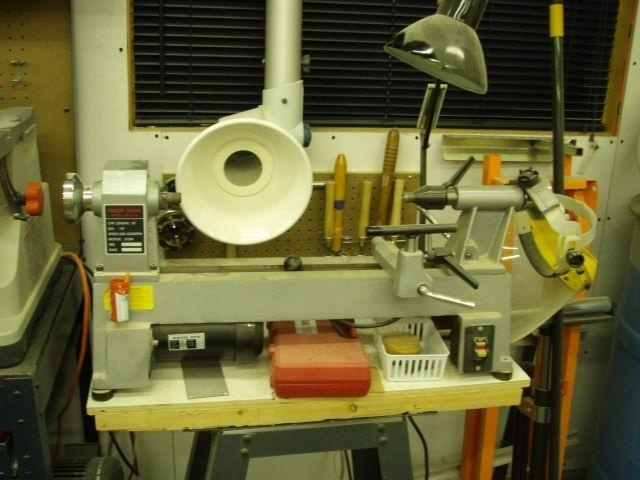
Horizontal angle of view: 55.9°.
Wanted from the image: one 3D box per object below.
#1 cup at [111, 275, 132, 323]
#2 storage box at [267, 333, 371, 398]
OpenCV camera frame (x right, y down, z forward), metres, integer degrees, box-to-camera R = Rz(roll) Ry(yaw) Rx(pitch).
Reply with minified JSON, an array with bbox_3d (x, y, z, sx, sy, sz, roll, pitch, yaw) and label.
[{"bbox_3d":[-0.645,0.196,1.954,0.055,0.153,0.059,-2,9,0],"label":"cup"},{"bbox_3d":[-0.002,0.413,2.015,0.229,0.082,0.223,-2,16,-13],"label":"storage box"}]
